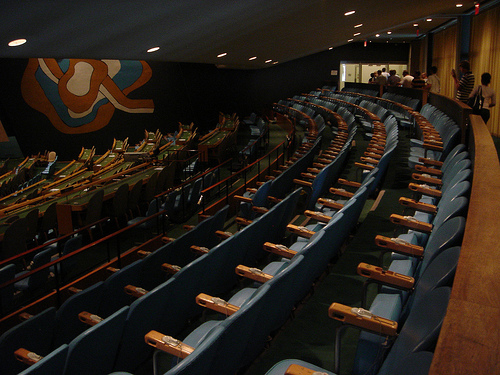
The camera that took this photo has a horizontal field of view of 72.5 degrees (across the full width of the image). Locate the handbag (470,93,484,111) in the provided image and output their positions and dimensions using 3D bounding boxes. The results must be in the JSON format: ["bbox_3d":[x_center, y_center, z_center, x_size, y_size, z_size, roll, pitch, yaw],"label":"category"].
[{"bbox_3d":[3.532,-1.323,5.320,0.173,0.251,0.207,-1,20,12],"label":"handbag"}]
